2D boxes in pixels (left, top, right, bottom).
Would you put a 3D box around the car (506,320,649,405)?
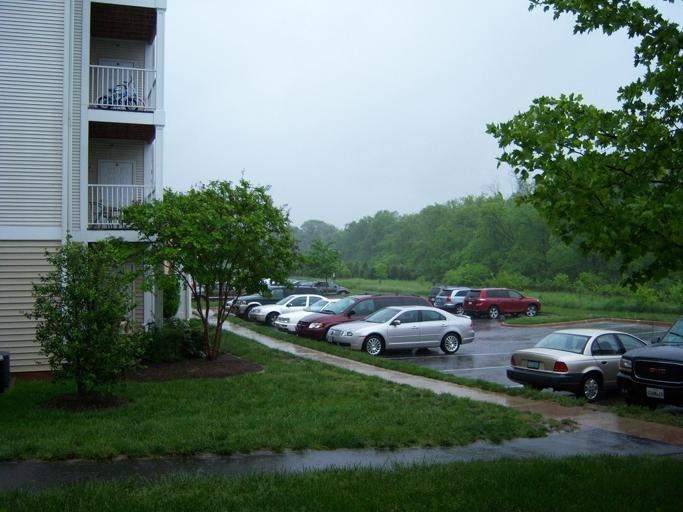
[{"bbox_3d":[6.127,2.527,16.582,3.531,1.135,1.594,-4,2,-32],"label":"car"}]
